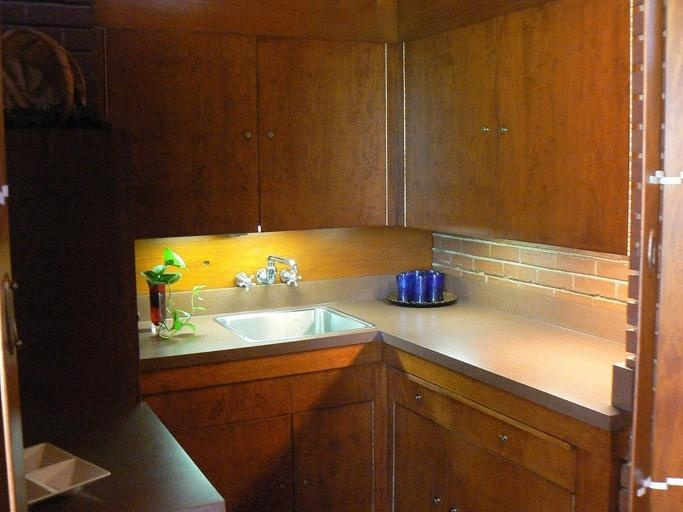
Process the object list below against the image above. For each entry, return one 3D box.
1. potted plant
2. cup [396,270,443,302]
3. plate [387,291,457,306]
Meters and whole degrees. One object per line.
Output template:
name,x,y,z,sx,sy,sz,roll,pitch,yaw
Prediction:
potted plant,-0.771,0.168,2.612,0.292,0.394,0.192,2,3,4
cup,0.442,0.160,3.082,0.180,0.113,0.182,0,10,0
plate,0.429,0.238,3.089,0.387,0.043,0.233,1,9,10
